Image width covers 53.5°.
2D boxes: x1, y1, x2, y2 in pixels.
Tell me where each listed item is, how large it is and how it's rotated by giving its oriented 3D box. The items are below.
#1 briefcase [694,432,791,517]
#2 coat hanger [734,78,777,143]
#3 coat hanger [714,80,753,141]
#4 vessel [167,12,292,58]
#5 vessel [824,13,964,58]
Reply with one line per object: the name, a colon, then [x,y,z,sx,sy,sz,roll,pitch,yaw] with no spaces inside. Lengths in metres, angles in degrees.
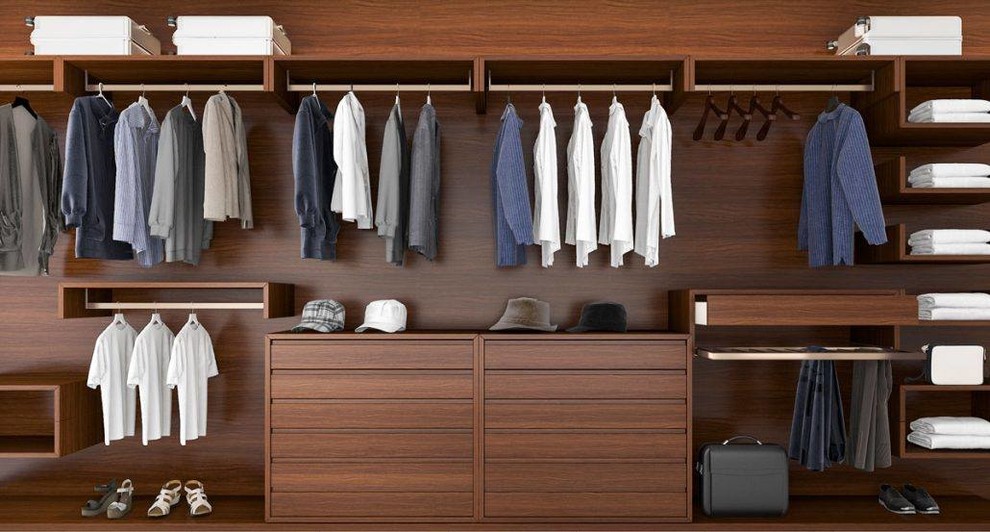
briefcase: [1.959,1.685,7.785,0.877,0.512,0.257,0,-3,1]
coat hanger: [2.146,-1.220,7.860,0.154,0.423,0.413,-3,11,-37]
coat hanger: [1.953,-1.220,7.851,0.148,0.371,0.396,5,5,41]
vessel: [-2.223,-1.885,8.214,0.947,0.279,0.937,0,11,-12]
vessel: [3.277,-1.832,7.803,0.601,0.158,0.544,0,5,-2]
